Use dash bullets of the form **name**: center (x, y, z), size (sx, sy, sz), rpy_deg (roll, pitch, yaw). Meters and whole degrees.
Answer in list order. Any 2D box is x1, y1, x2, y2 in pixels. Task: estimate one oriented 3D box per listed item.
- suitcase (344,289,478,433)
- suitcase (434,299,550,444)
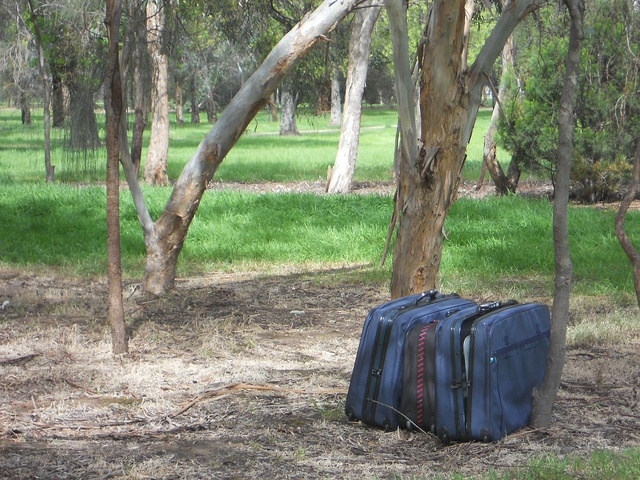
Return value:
- **suitcase**: center (1.240, 1.659, 15.548), size (0.499, 1.554, 1.474), rpy_deg (11, 7, 34)
- **suitcase**: center (2.372, 1.708, 15.891), size (0.877, 1.856, 1.785), rpy_deg (1, 9, 39)
